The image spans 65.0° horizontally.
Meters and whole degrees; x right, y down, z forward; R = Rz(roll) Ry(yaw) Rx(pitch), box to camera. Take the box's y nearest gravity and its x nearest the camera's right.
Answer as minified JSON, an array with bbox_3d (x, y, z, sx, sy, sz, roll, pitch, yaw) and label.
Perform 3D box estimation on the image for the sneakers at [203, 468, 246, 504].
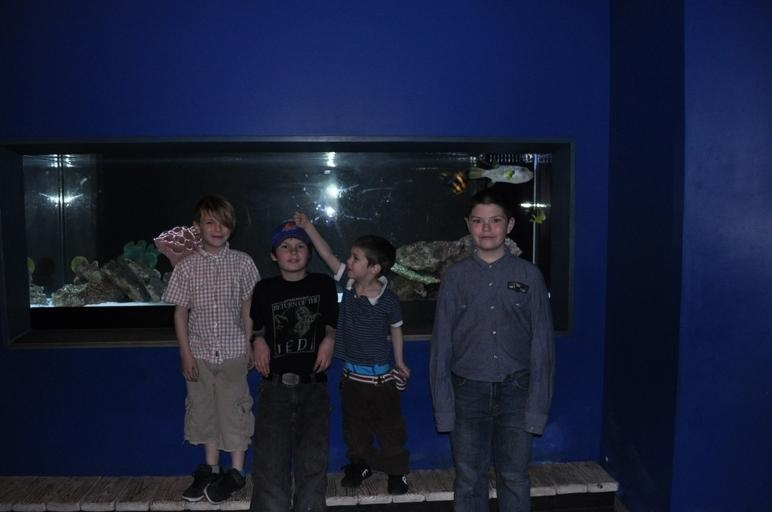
[{"bbox_3d":[-1.137,1.595,4.284,0.163,0.134,0.323,45,46,18],"label":"sneakers"}]

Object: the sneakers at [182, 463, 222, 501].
[{"bbox_3d":[-1.287,1.573,4.344,0.144,0.145,0.351,11,17,17],"label":"sneakers"}]
